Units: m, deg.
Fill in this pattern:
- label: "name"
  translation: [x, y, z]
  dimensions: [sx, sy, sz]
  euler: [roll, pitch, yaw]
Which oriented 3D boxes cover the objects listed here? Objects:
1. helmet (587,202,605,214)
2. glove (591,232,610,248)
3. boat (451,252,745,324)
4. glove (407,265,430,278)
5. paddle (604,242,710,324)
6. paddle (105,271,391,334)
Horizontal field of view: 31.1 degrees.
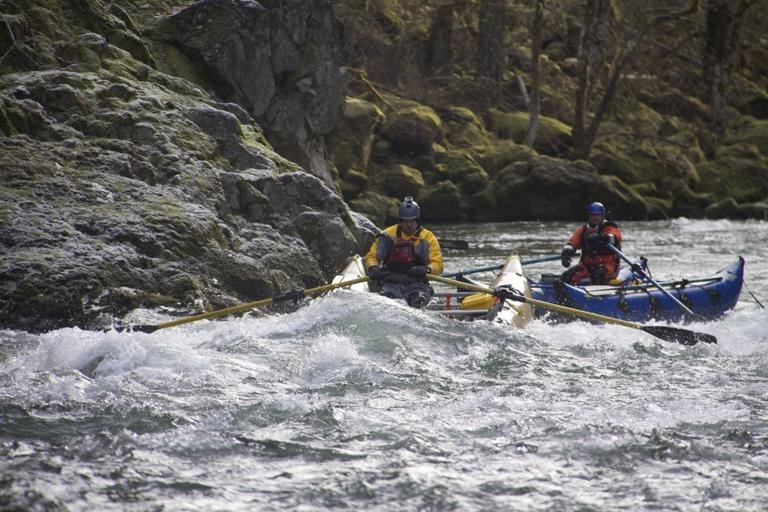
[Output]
- label: "helmet"
  translation: [5.239, -1.147, 34.032]
  dimensions: [0.416, 0.378, 0.491]
  euler: [2, 21, 12]
- label: "glove"
  translation: [5.310, -0.376, 33.755]
  dimensions: [0.480, 0.349, 0.322]
  euler: [5, -1, 5]
- label: "boat"
  translation: [6.310, 0.863, 33.185]
  dimensions: [5.333, 1.263, 1.891]
  euler: [-1, 6, -13]
- label: "glove"
  translation: [0.823, 0.378, 32.612]
  dimensions: [0.383, 0.130, 0.265]
  euler: [0, 52, 23]
- label: "paddle"
  translation: [6.787, 0.748, 34.314]
  dimensions: [3.456, 0.251, 0.468]
  euler: [29, 40, 8]
- label: "paddle"
  translation: [-3.273, 1.131, 31.787]
  dimensions: [4.251, 0.201, 0.688]
  euler: [-12, 45, -8]
